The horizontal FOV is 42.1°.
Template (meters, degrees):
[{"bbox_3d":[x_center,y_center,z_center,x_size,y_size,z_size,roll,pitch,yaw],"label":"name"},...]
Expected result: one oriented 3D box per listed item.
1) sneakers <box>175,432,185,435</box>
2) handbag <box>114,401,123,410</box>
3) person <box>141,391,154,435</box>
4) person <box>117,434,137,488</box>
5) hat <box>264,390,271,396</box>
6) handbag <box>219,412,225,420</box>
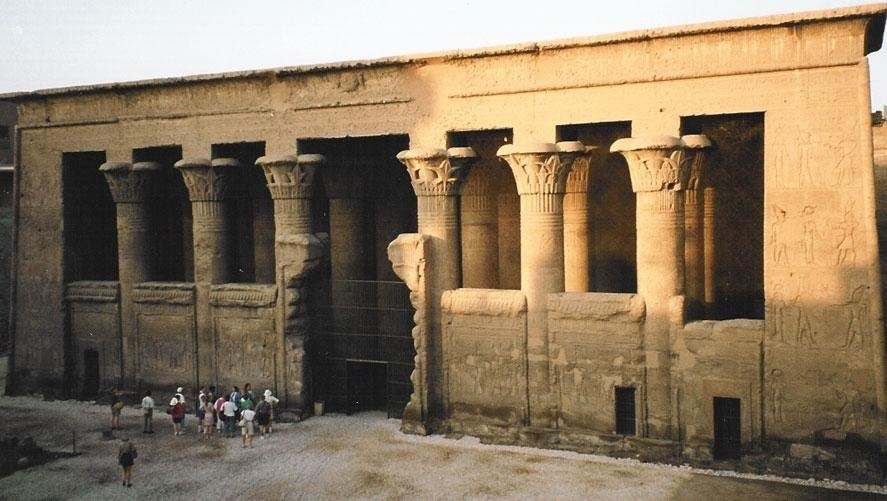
[{"bbox_3d":[-7.884,5.432,34.359,0.252,0.094,0.094,3,3,-1],"label":"sneakers"},{"bbox_3d":[-9.792,4.603,34.665,0.243,0.220,0.054,0,38,-23],"label":"handbag"},{"bbox_3d":[-8.899,4.870,34.609,0.313,1.147,0.586,2,-5,-15],"label":"person"},{"bbox_3d":[-8.832,5.864,32.115,0.466,1.342,0.729,2,-5,-15],"label":"person"},{"bbox_3d":[-5.316,4.277,34.700,0.162,0.140,0.160,-4,-26,4],"label":"hat"},{"bbox_3d":[-6.548,4.899,34.189,0.206,0.238,0.126,-1,-5,25],"label":"handbag"}]
